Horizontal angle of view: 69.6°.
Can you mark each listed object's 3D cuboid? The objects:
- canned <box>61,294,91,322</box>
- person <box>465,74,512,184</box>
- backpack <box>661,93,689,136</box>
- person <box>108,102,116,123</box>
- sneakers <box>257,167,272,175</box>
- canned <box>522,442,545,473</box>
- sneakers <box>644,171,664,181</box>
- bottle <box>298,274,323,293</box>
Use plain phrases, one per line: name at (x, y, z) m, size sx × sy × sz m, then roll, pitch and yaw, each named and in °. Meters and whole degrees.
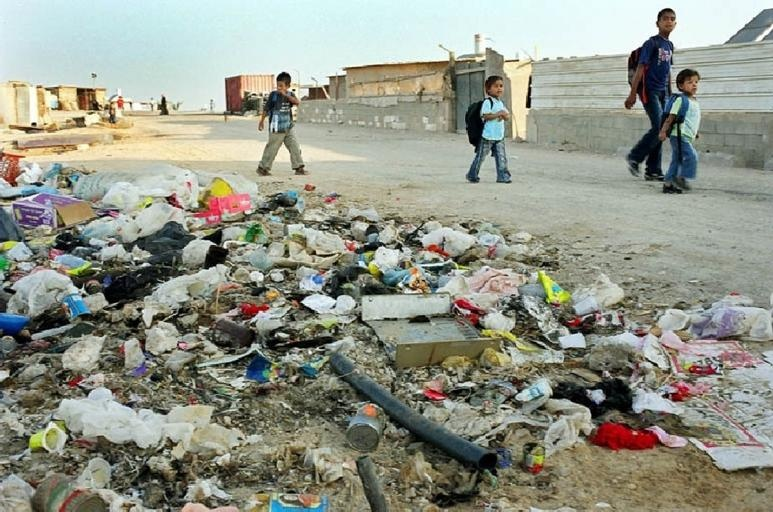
canned at (-2.419, 0.411, 4.336) m, size 0.249 × 0.150 × 0.174 m, roll 38°, pitch 13°, yaw 31°
person at (1.852, -2.261, 9.852) m, size 0.825 × 1.829 × 1.373 m, roll 3°, pitch 16°, yaw 11°
backpack at (4.192, -2.055, 8.072) m, size 0.298 × 0.604 × 0.363 m, roll 7°, pitch 18°, yaw 23°
person at (-13.374, -7.036, 27.157) m, size 0.309 × 0.907 × 1.025 m, roll -9°, pitch 17°, yaw -26°
sneakers at (-2.267, -1.541, 10.128) m, size 0.321 × 0.085 × 0.109 m, roll 11°, pitch -23°, yaw 0°
canned at (0.798, 1.101, 3.041) m, size 0.164 × 0.123 × 0.140 m, roll -1°, pitch 6°, yaw -3°
sneakers at (4.411, -1.318, 9.240) m, size 0.341 × 0.103 × 0.109 m, roll 0°, pitch 28°, yaw 6°
bottle at (-0.652, 0.245, 4.958) m, size 0.172 × 0.036 × 0.174 m, roll 2°, pitch 20°, yaw -1°
